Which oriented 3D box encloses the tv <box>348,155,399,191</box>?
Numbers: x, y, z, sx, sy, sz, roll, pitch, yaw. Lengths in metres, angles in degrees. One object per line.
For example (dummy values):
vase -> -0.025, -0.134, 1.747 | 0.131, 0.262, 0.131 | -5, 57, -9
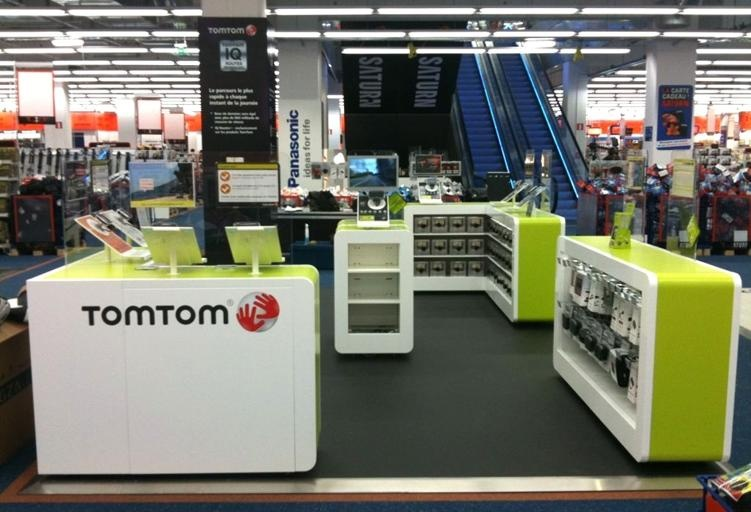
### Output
tv -> -0.026, -1.136, 8.513 | 0.685, 0.480, 0.475 | -3, 14, -2
